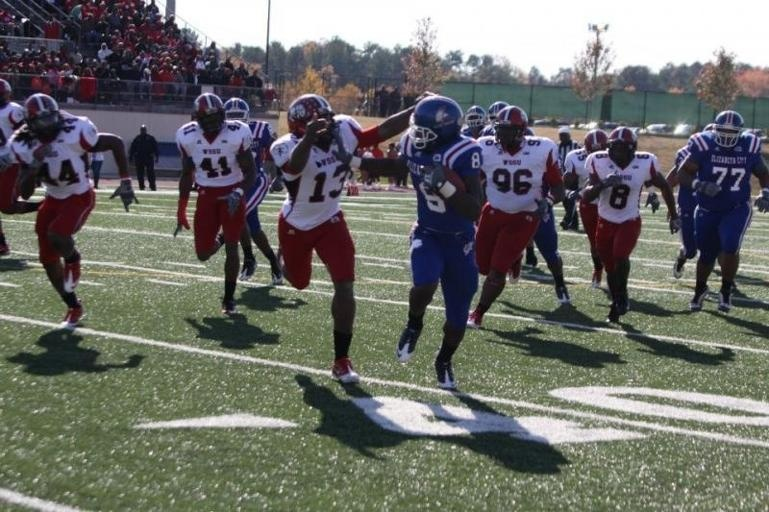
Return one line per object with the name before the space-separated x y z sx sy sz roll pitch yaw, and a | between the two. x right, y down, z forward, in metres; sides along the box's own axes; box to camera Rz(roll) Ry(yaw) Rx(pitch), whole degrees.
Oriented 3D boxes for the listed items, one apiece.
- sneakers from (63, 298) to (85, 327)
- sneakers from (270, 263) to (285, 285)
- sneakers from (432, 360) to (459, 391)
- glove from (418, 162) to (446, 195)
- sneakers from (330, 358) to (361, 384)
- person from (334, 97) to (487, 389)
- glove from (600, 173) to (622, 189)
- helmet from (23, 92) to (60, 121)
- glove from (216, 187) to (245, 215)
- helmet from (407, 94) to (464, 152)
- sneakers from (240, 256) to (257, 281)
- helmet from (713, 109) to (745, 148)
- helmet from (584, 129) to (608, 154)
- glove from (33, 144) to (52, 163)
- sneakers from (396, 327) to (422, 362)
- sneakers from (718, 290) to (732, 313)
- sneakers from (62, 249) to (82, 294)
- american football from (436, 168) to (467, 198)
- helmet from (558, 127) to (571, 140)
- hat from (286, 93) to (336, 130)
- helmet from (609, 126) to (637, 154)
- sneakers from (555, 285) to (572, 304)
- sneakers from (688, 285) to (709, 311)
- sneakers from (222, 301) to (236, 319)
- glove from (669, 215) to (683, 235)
sneakers | -2.784 0.522 6.690 0.123 0.137 0.329 3 33 4
sneakers | -1.229 0.221 8.558 0.111 0.313 0.138 1 26 9
sneakers | 0.467 0.920 5.612 0.252 0.240 0.116 0 1 38
glove | 0.333 -0.567 5.180 0.093 0.153 0.213 -4 37 -37
sneakers | -0.305 0.880 5.652 0.117 0.119 0.267 -3 3 -39
person | 0.349 -0.116 5.630 0.627 2.167 0.894 -9 17 -39
glove | 2.362 -0.774 7.666 0.191 0.171 0.256 6 14 18
helmet | -2.986 -1.318 6.532 0.228 0.241 0.286 -9 23 9
glove | -1.452 -0.508 7.032 0.205 0.106 0.297 15 53 -12
helmet | 0.383 -1.001 5.546 0.435 0.342 0.344 -2 34 4
sneakers | -1.634 0.167 8.637 0.131 0.168 0.377 6 51 13
helmet | 3.850 -1.429 8.294 0.296 0.390 0.291 7 14 22
helmet | 2.842 -1.544 9.935 0.261 0.318 0.504 5 13 10
glove | -3.012 -0.916 6.521 0.121 0.152 0.153 21 21 37
sneakers | 0.185 0.666 5.715 0.121 0.338 0.139 7 10 -8
sneakers | 3.733 0.500 8.090 0.123 0.223 0.232 7 14 20
sneakers | -2.821 0.136 6.676 0.139 0.393 0.173 -1 9 -18
american football | 0.504 -0.538 5.271 0.233 0.139 0.185 37 11 -6
helmet | 3.202 -2.185 13.144 0.238 0.121 0.374 0 11 14
hat | -0.610 -1.157 5.909 0.349 0.275 0.267 3 15 28
helmet | 2.551 -1.252 7.878 0.328 0.256 0.235 -1 3 -32
sneakers | 2.032 0.446 8.373 0.096 0.110 0.284 2 19 5
sneakers | 3.485 0.465 8.220 0.145 0.257 0.357 8 14 24
sneakers | -1.516 0.527 7.201 0.073 0.148 0.216 8 27 7
glove | 3.325 -0.360 8.361 0.111 0.205 0.155 3 1 -1
